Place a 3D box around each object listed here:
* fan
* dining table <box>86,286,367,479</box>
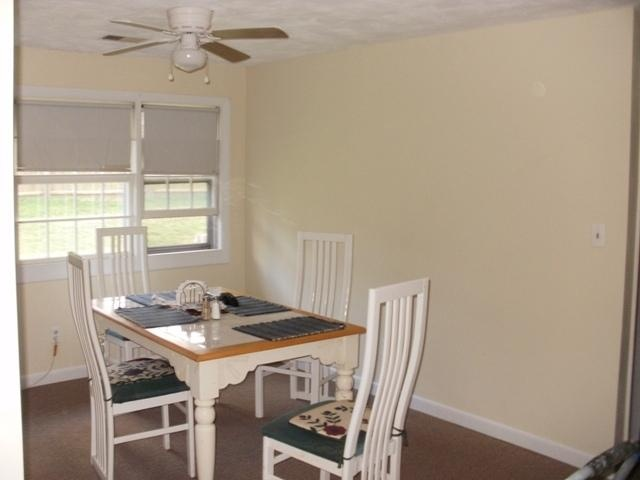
[{"bbox_3d":[-0.702,-1.036,3.019,0.762,0.187,0.763,1,1,41],"label":"fan"},{"bbox_3d":[-0.410,0.515,2.836,1.019,0.590,1.445,-3,6,-38],"label":"dining table"}]
